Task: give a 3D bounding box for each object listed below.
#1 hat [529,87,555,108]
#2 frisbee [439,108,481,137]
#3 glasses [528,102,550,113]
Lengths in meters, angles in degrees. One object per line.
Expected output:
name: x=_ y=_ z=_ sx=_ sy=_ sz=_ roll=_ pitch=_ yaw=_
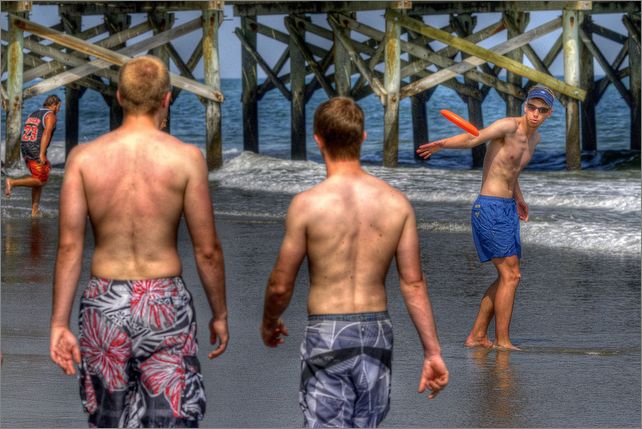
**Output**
hat: x=2.980 y=-1.586 z=18.984 sx=0.344 sy=0.296 sz=0.319 roll=4 pitch=9 yaw=7
frisbee: x=1.762 y=-1.234 z=18.091 sx=0.380 sy=0.049 sz=0.365 roll=28 pitch=-4 yaw=25
glasses: x=2.930 y=-1.422 z=18.889 sx=0.173 sy=0.045 sz=0.172 roll=7 pitch=-16 yaw=12
